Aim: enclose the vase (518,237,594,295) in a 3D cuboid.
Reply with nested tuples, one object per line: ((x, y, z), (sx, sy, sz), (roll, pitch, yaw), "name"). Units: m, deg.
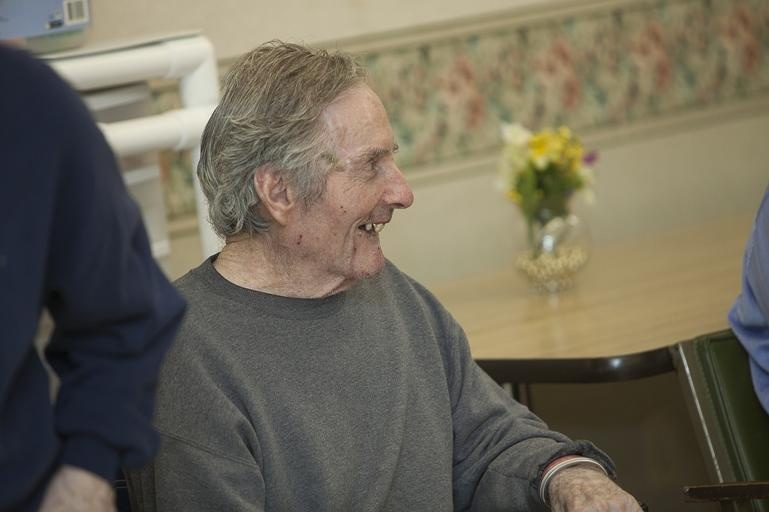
((0.550, 0.045, 2.832), (0.289, 0.127, 0.306), (-22, -6, 13), "vase")

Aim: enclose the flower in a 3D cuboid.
((0.521, -0.192, 2.777), (0.296, 0.410, 0.288), (3, -10, 18), "flower")
